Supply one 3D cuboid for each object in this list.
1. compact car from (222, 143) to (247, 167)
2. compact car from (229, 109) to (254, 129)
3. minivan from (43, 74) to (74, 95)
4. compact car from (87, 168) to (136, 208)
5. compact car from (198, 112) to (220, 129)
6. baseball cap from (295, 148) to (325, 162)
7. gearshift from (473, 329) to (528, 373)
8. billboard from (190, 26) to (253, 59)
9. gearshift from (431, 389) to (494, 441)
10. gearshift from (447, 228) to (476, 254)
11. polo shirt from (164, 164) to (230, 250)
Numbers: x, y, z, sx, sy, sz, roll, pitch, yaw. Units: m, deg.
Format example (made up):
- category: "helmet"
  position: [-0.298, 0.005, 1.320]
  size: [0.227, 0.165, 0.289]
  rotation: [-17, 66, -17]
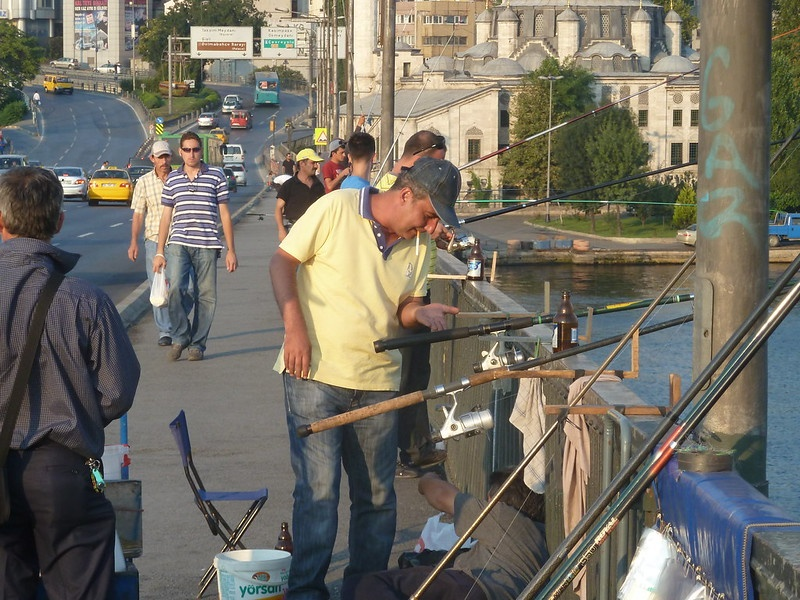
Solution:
- category: "compact car"
  position: [-6.909, -5.704, 79.760]
  size: [1.090, 0.988, 1.911]
  rotation: [-1, 13, -2]
- category: "compact car"
  position: [-9.808, -10.724, 116.666]
  size: [0.986, 0.877, 1.745]
  rotation: [0, 14, 2]
- category: "minivan"
  position: [-25.541, -15.775, 142.403]
  size: [1.376, 1.056, 1.967]
  rotation: [-2, 5, -35]
- category: "compact car"
  position: [-7.346, -2.772, 48.582]
  size: [1.057, 0.946, 2.577]
  rotation: [-1, 9, -6]
- category: "compact car"
  position: [-11.053, -9.960, 108.979]
  size: [0.866, 0.706, 2.033]
  rotation: [-2, 12, 2]
- category: "baseball cap"
  position: [-0.876, -1.336, 18.072]
  size: [0.211, 0.113, 0.140]
  rotation: [-2, 2, 12]
- category: "gearshift"
  position: [0.515, 0.284, 10.294]
  size: [0.203, 0.186, 0.257]
  rotation: [-26, -18, 33]
- category: "billboard"
  position: [-9.325, -13.174, 99.544]
  size: [3.177, 1.633, 2.040]
  rotation: [-1, 9, -6]
- category: "gearshift"
  position: [0.300, 0.601, 10.122]
  size: [0.346, 0.302, 0.125]
  rotation: [-16, 21, 1]
- category: "gearshift"
  position: [0.560, -0.482, 16.633]
  size: [0.323, 0.164, 0.407]
  rotation: [5, 12, 23]
- category: "polo shirt"
  position: [-1.753, -0.759, 16.273]
  size: [0.553, 0.693, 0.317]
  rotation: [-1, 8, -7]
